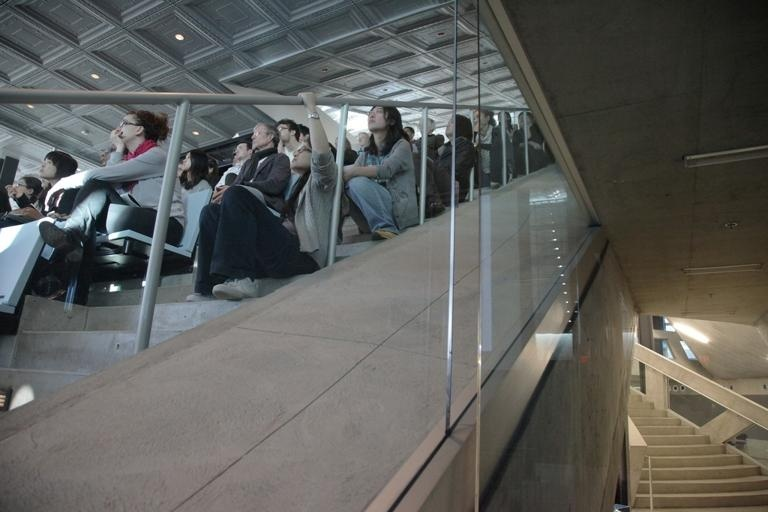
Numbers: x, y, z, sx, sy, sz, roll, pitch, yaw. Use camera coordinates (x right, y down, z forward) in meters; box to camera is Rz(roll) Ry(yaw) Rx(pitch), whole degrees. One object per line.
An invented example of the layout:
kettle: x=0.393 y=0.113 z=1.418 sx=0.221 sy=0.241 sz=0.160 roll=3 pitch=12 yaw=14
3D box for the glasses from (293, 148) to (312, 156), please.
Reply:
glasses: x=-0.541 y=-0.685 z=3.055 sx=0.080 sy=0.029 sz=0.057 roll=0 pitch=1 yaw=9

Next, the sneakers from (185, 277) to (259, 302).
sneakers: x=-0.751 y=0.174 z=2.273 sx=0.390 sy=0.137 sz=0.130 roll=5 pitch=-21 yaw=-11

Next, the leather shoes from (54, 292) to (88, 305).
leather shoes: x=-1.542 y=0.211 z=2.255 sx=0.044 sy=0.045 sz=0.191 roll=9 pitch=7 yaw=28

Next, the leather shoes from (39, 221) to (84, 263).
leather shoes: x=-1.591 y=-0.077 z=2.287 sx=0.096 sy=0.246 sz=0.175 roll=-43 pitch=14 yaw=-12
